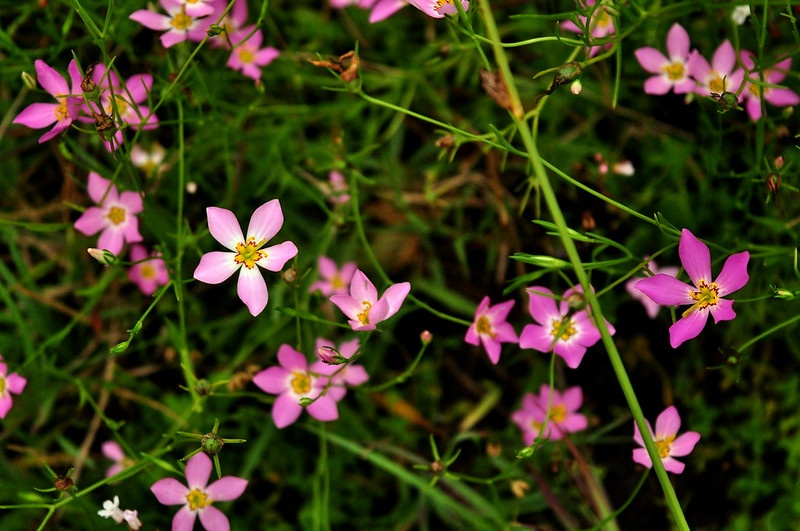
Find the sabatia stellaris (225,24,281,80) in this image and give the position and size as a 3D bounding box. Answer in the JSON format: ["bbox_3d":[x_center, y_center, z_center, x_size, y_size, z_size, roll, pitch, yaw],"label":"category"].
[{"bbox_3d":[-0.693,-1.000,3.723,0.235,0.086,0.318,7,81,-15],"label":"sabatia stellaris"}]

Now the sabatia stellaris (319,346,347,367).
[{"bbox_3d":[-0.267,0.357,3.133,0.093,0.048,0.082,21,53,-13],"label":"sabatia stellaris"}]

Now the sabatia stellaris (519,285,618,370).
[{"bbox_3d":[0.672,0.203,3.150,0.351,0.296,0.301,16,55,17],"label":"sabatia stellaris"}]

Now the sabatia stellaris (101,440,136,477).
[{"bbox_3d":[-1.353,0.903,3.779,0.176,0.052,0.199,33,100,33],"label":"sabatia stellaris"}]

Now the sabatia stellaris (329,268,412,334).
[{"bbox_3d":[-0.119,0.141,3.109,0.278,0.208,0.213,13,54,16],"label":"sabatia stellaris"}]

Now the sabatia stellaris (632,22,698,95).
[{"bbox_3d":[1.215,-0.927,3.629,0.246,0.177,0.297,-6,53,2],"label":"sabatia stellaris"}]
